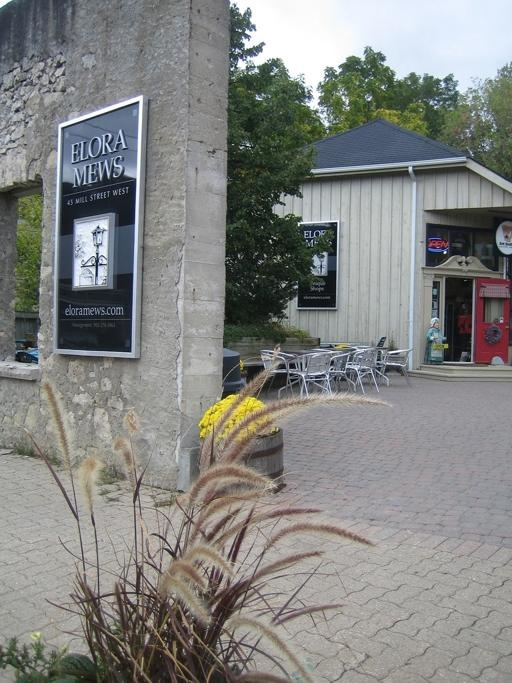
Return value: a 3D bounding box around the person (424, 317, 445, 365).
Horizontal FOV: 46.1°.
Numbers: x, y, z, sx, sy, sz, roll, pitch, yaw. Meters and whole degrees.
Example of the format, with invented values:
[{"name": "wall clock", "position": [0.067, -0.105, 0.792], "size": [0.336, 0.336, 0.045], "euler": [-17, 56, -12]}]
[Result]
[{"name": "person", "position": [5.417, -0.047, 18.146], "size": [0.496, 1.403, 0.819], "euler": [-1, -2, 14]}]
